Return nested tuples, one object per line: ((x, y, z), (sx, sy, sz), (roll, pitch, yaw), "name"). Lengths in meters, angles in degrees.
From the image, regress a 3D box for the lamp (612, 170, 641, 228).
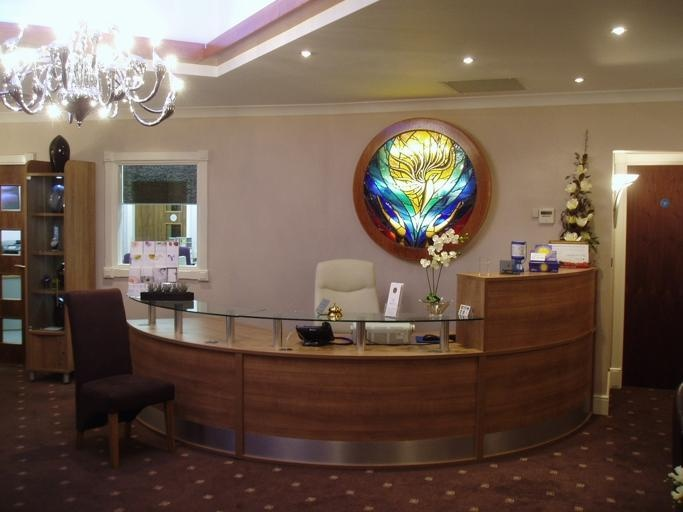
((2.896, -0.550, 5.550), (0.235, 0.564, 0.098), (3, 0, 31), "lamp")

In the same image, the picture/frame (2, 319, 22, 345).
((-4.120, 0.952, 6.781), (0.295, 0.351, 0.046), (1, 2, 10), "picture/frame")

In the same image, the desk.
((0.371, 0.895, 4.505), (3.910, 1.536, 0.854), (0, 11, -3), "desk")

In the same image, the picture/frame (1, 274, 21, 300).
((-4.122, 0.376, 6.808), (0.257, 0.368, 0.365), (-1, 6, -31), "picture/frame")

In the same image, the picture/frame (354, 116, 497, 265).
((0.997, -0.737, 6.008), (1.577, 1.669, 0.188), (1, 4, 10), "picture/frame")

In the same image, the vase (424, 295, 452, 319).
((0.728, 0.404, 4.308), (0.232, 0.132, 0.213), (-1, 1, -34), "vase")
